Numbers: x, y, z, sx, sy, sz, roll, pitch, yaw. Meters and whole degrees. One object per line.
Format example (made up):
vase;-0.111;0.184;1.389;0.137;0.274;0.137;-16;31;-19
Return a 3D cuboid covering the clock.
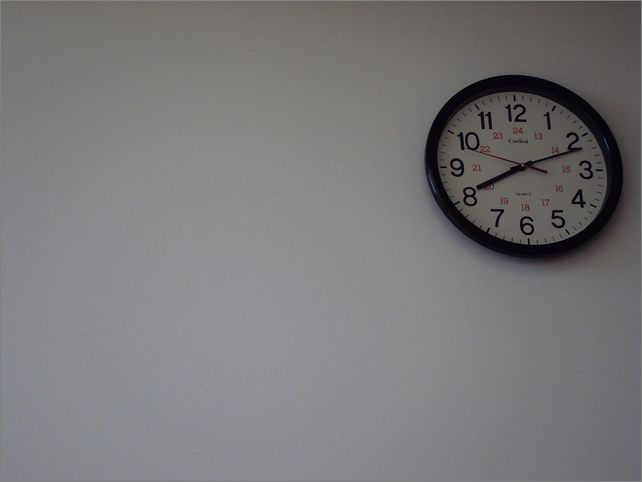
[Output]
clock;0.620;-0.207;2.639;0.512;0.050;0.531;-6;71;-7
